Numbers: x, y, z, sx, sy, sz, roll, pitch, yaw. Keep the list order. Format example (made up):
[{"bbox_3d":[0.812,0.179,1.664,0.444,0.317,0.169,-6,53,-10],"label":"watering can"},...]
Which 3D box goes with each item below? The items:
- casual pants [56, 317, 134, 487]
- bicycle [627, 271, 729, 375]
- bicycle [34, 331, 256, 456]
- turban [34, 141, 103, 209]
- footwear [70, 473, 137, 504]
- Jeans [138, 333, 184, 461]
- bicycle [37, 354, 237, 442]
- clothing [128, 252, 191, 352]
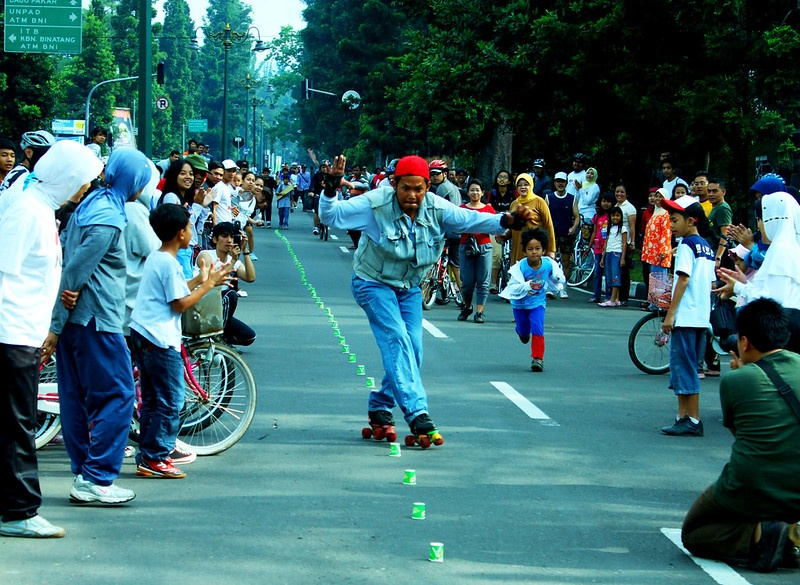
[{"bbox_3d":[-2.157,0.766,7.174,0.538,1.151,0.295,-1,5,-11],"label":"casual pants"},{"bbox_3d":[3.458,0.482,11.937,1.599,0.961,0.778,4,3,-5],"label":"bicycle"},{"bbox_3d":[-2.130,0.811,8.575,1.798,1.085,0.878,1,4,-4],"label":"bicycle"},{"bbox_3d":[-2.231,-0.791,6.840,0.435,0.455,0.207,-2,5,-19],"label":"turban"},{"bbox_3d":[-2.121,1.381,7.265,0.483,0.224,0.183,2,1,-5],"label":"footwear"},{"bbox_3d":[-1.848,0.790,7.778,0.376,0.994,0.243,-1,5,-15],"label":"Jeans"},{"bbox_3d":[-2.198,0.786,8.761,1.551,0.931,0.742,-1,6,-5],"label":"bicycle"},{"bbox_3d":[-1.813,0.070,7.825,0.400,0.764,0.694,0,7,-30],"label":"clothing"}]
